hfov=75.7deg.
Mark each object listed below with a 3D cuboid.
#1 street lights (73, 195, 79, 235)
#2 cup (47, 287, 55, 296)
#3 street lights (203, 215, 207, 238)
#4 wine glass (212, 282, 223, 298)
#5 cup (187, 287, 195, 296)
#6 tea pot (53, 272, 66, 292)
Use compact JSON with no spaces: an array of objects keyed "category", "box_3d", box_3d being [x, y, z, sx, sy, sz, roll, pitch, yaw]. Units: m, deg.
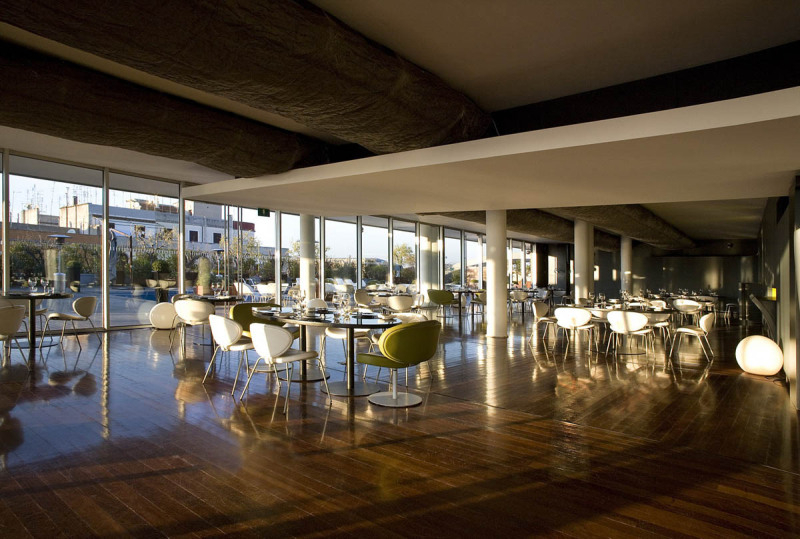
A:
[{"category":"street lights","box_3d":[-7.092,-1.216,11.263,0.124,0.782,0.103,-7,13,-38]},{"category":"cup","box_3d":[-6.711,0.427,9.862,0.138,0.124,0.065,2,4,21]},{"category":"street lights","box_3d":[-5.017,-1.073,13.180,0.122,0.536,0.089,-7,13,-39]},{"category":"wine glass","box_3d":[-4.294,0.483,12.053,0.312,0.366,0.327,2,-5,-21]},{"category":"cup","box_3d":[-5.161,0.539,12.664,0.182,0.170,0.183,0,-3,0]},{"category":"tea pot","box_3d":[-7.353,0.264,11.109,0.234,0.440,0.082,-5,12,-33]}]
